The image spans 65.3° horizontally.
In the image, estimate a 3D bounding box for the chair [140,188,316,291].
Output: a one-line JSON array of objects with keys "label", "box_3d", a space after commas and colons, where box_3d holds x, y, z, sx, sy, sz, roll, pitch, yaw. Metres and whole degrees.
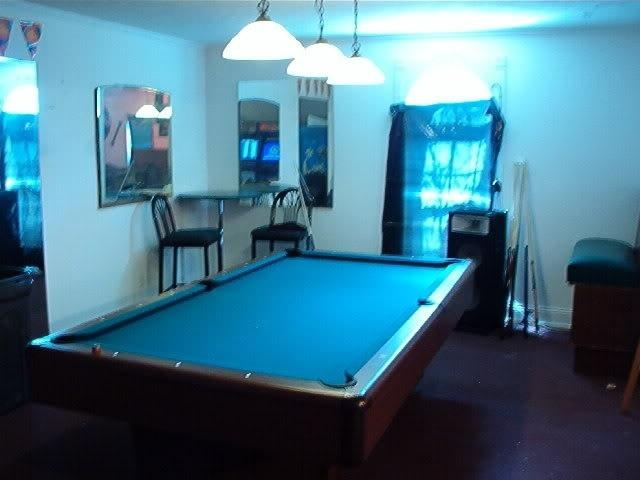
[{"label": "chair", "box_3d": [-0.940, -0.080, 5.391, 1.165, 1.107, 1.464, 6, 7, 14]}]

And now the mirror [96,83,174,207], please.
[{"label": "mirror", "box_3d": [-1.820, -0.962, 4.991, 0.116, 1.120, 1.109, 8, 14, 17]}]
